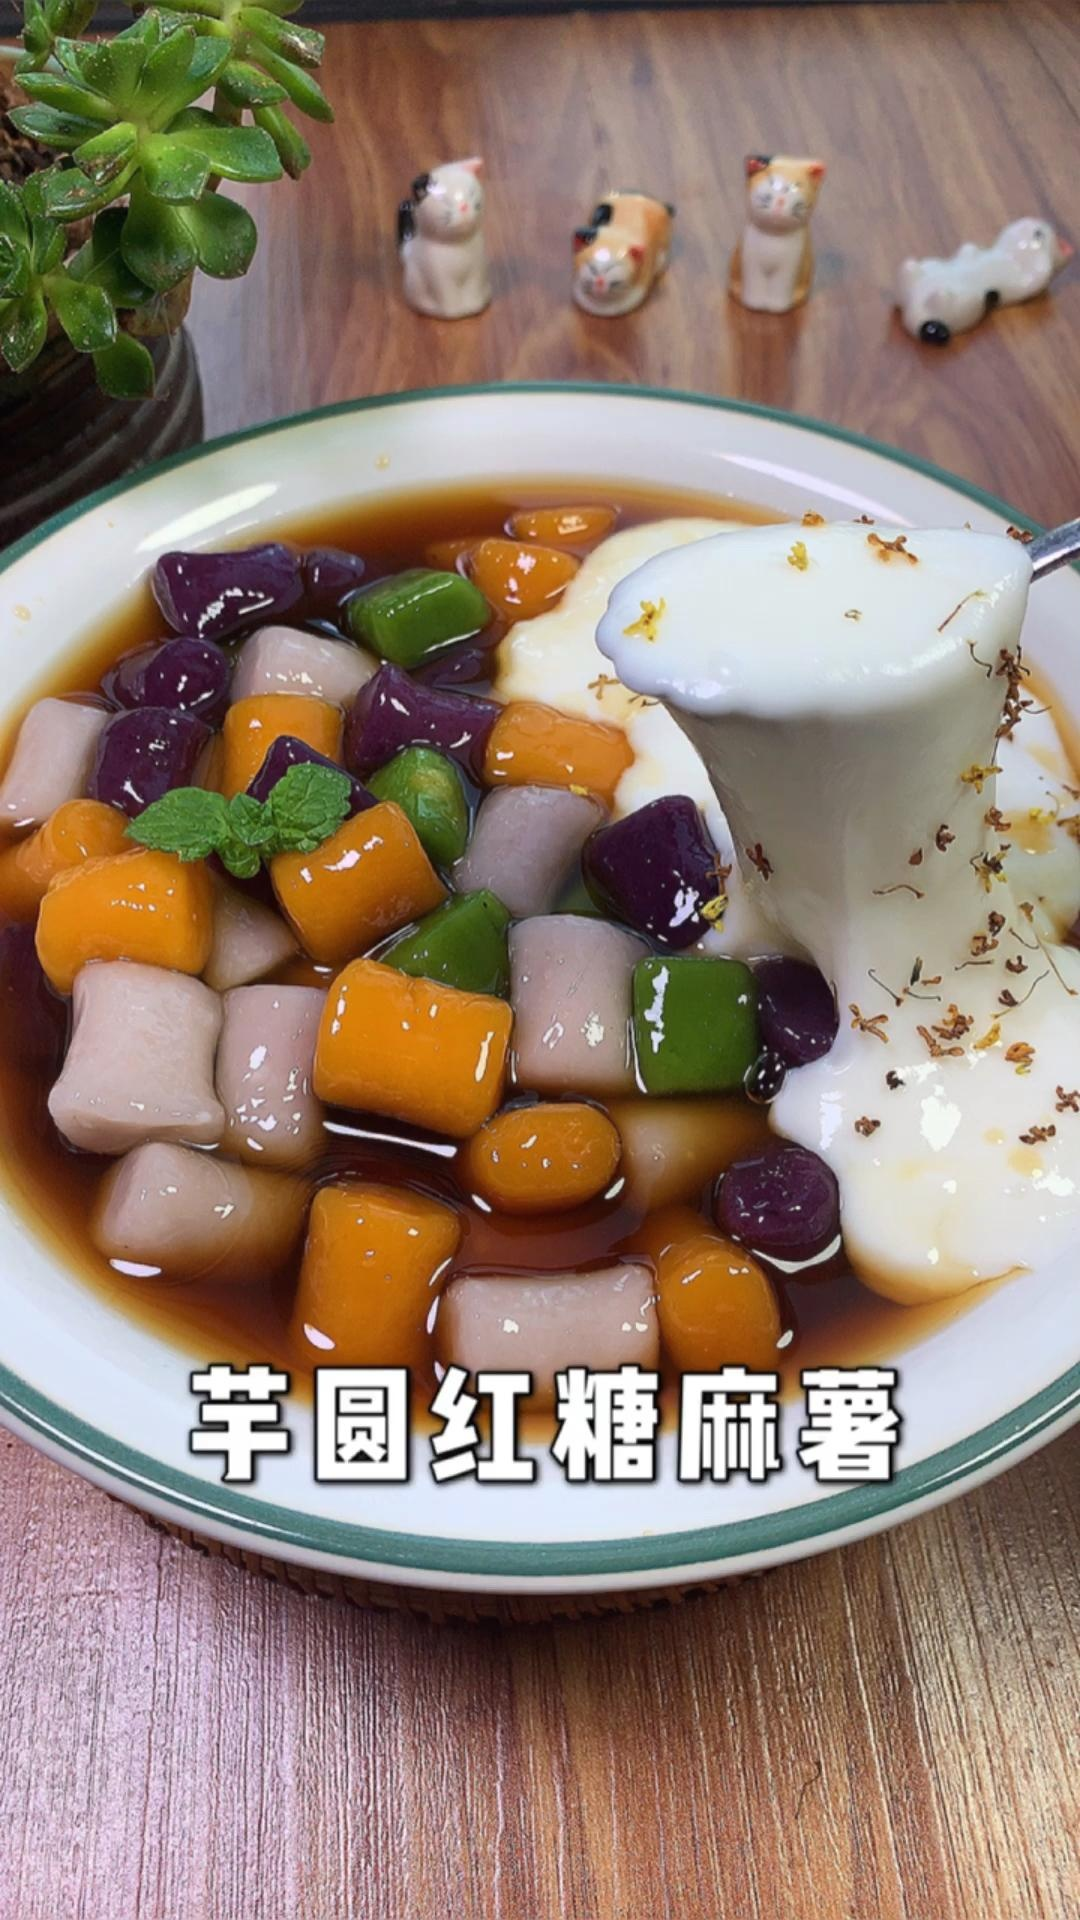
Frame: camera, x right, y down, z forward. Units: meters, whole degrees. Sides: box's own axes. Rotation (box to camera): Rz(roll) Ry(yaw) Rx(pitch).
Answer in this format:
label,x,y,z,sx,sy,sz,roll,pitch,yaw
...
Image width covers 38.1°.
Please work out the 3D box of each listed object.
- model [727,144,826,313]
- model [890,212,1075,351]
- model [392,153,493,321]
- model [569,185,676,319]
label,x,y,z,sx,sy,sz,roll,pitch,yaw
model,0.372,-1.160,2.478,0.134,0.233,0.132,6,46,2
model,0.705,-1.088,2.526,0.270,0.127,0.178,-21,62,5
model,-0.154,-1.151,2.477,0.148,0.239,0.152,-13,41,-14
model,0.135,-1.157,2.514,0.145,0.091,0.262,22,68,9
